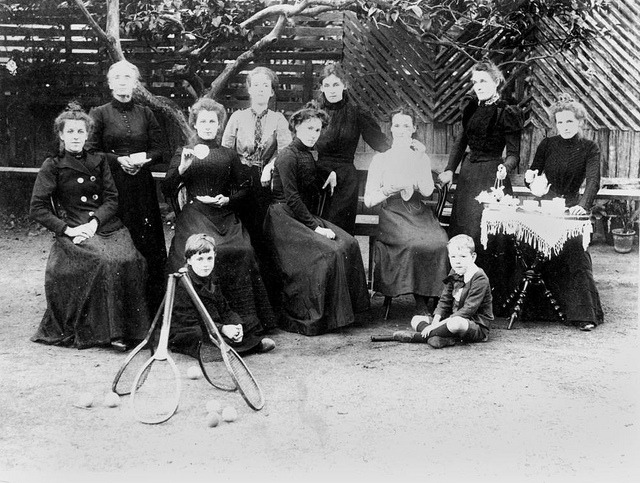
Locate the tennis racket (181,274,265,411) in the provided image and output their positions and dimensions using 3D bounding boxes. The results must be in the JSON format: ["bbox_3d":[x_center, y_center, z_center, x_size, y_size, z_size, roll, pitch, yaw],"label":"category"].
[{"bbox_3d":[-0.629,0.630,4.326,0.520,0.917,0.397,-4,14,-17],"label":"tennis racket"}]

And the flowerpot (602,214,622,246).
[{"bbox_3d":[3.820,-0.147,8.791,0.339,0.380,0.329,-1,4,0],"label":"flowerpot"}]

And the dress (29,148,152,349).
[{"bbox_3d":[-1.872,0.032,5.441,0.978,1.507,0.699,1,14,4],"label":"dress"}]

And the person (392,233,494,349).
[{"bbox_3d":[1.057,0.412,5.496,0.837,0.897,0.584,-2,4,-22],"label":"person"}]

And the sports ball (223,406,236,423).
[{"bbox_3d":[-0.573,1.097,4.237,0.079,0.102,0.082,-1,-26,0],"label":"sports ball"}]

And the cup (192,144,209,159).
[{"bbox_3d":[-1.024,-0.765,5.659,0.133,0.118,0.070,-3,14,-12],"label":"cup"}]

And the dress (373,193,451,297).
[{"bbox_3d":[0.819,0.027,6.000,0.666,0.820,0.718,2,14,5],"label":"dress"}]

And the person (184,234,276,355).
[{"bbox_3d":[-0.760,0.431,4.984,0.193,0.998,0.624,-23,-12,30],"label":"person"}]

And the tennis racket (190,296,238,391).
[{"bbox_3d":[-0.825,0.778,4.986,0.112,0.712,0.272,-26,-11,27],"label":"tennis racket"}]

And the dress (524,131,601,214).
[{"bbox_3d":[2.196,-0.560,6.004,0.593,0.837,0.541,10,3,28],"label":"dress"}]

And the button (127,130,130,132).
[{"bbox_3d":[-1.687,-0.964,5.808,0.014,0.015,0.003,18,-4,6],"label":"button"}]

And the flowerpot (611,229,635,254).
[{"bbox_3d":[3.816,-0.007,8.396,0.280,0.264,0.264,-3,5,-45],"label":"flowerpot"}]

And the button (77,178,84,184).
[{"bbox_3d":[-1.995,-0.504,5.486,0.043,0.047,0.011,-2,1,-9],"label":"button"}]

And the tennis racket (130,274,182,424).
[{"bbox_3d":[-0.978,0.640,4.076,0.300,0.924,0.043,6,-14,5],"label":"tennis racket"}]

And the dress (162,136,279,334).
[{"bbox_3d":[-0.856,-0.040,5.629,0.923,1.625,1.008,-6,15,-26],"label":"dress"}]

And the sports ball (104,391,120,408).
[{"bbox_3d":[-1.378,1.040,4.378,0.087,0.094,0.090,-1,-22,0],"label":"sports ball"}]

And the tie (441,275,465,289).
[{"bbox_3d":[1.121,0.321,5.543,0.101,0.045,0.110,-13,13,-32],"label":"tie"}]

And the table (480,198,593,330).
[{"bbox_3d":[1.960,0.189,6.043,0.919,1.108,0.976,-2,8,10],"label":"table"}]

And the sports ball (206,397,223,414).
[{"bbox_3d":[-0.706,1.058,4.338,0.086,0.090,0.100,-25,17,-11],"label":"sports ball"}]

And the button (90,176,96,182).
[{"bbox_3d":[-1.900,-0.521,5.514,0.047,0.051,0.011,0,0,-25],"label":"button"}]

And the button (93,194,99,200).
[{"bbox_3d":[-1.893,-0.374,5.557,0.047,0.050,0.011,1,-1,-12],"label":"button"}]
